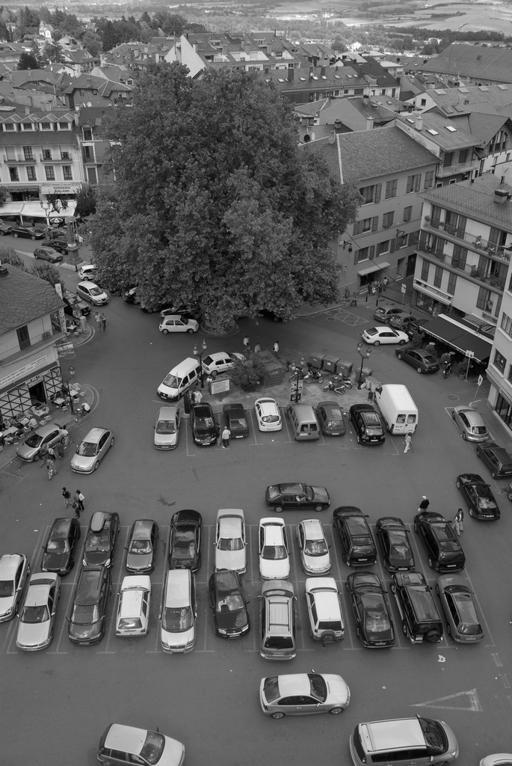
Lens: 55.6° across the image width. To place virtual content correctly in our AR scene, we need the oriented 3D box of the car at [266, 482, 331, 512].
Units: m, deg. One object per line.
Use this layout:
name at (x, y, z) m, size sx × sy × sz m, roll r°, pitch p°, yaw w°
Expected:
car at (2.408, 6.372, 28.240) m, size 3.475 × 1.293 × 1.747 m, roll -1°, pitch 44°, yaw 0°

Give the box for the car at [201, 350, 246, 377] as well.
car at (-2.992, -1.744, 41.400) m, size 3.319 × 1.759 × 2.425 m, roll -2°, pitch 32°, yaw -3°

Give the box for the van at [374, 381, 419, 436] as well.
van at (10.429, 1.666, 35.883) m, size 2.063 × 2.142 × 4.085 m, roll -2°, pitch 40°, yaw 0°

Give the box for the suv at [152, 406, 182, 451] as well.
suv at (-6.200, 3.174, 33.958) m, size 1.298 × 1.228 × 3.261 m, roll 1°, pitch 35°, yaw -3°

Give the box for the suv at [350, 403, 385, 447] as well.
suv at (8.011, 2.929, 34.903) m, size 1.856 × 1.611 × 3.001 m, roll -2°, pitch 33°, yaw -4°

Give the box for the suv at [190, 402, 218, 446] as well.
suv at (-3.510, 2.918, 33.607) m, size 1.785 × 1.236 × 4.035 m, roll -1°, pitch 59°, yaw -12°

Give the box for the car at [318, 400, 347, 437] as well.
car at (5.535, 2.685, 35.562) m, size 1.828 × 1.072 × 2.708 m, roll -3°, pitch 33°, yaw -5°

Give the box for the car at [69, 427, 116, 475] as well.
car at (-10.720, 4.466, 31.673) m, size 1.468 × 1.431 × 3.197 m, roll 7°, pitch 34°, yaw 12°

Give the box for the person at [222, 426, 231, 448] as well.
person at (-2.096, 3.602, 33.327) m, size 0.583 × 1.393 × 1.032 m, roll 1°, pitch 31°, yaw 2°

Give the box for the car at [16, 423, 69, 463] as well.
car at (-14.405, 3.841, 32.537) m, size 1.770 × 1.438 × 3.055 m, roll 30°, pitch 46°, yaw 20°

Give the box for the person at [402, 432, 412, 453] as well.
person at (10.653, 4.184, 34.108) m, size 0.419 × 1.234 × 0.335 m, roll -11°, pitch 52°, yaw -4°

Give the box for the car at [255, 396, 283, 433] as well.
car at (0.938, 2.407, 35.474) m, size 1.803 × 1.280 × 2.503 m, roll -4°, pitch 33°, yaw -7°

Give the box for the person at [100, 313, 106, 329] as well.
person at (-15.294, -6.179, 48.532) m, size 0.338 × 1.440 × 1.474 m, roll -5°, pitch 32°, yaw -9°

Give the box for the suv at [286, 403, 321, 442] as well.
suv at (3.417, 2.782, 34.799) m, size 1.844 × 1.584 × 2.697 m, roll -4°, pitch 33°, yaw -7°
